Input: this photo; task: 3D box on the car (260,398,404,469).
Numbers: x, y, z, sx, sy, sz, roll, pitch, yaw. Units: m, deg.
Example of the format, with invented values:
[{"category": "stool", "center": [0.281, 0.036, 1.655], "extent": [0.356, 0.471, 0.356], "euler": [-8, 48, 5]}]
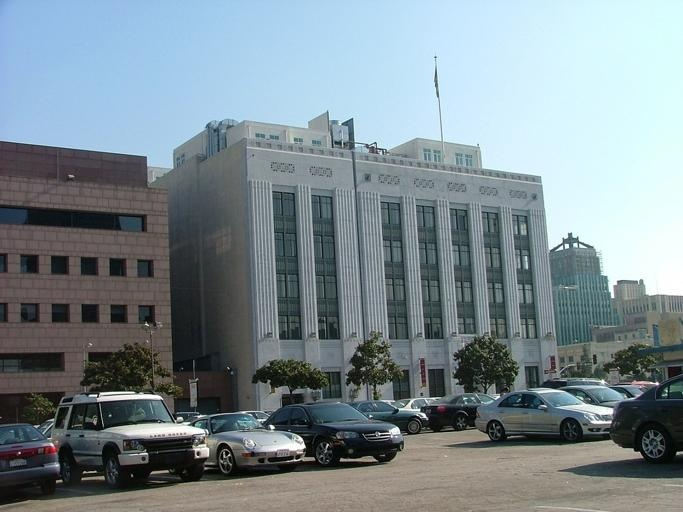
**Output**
[{"category": "car", "center": [-0.542, 5.532, 22.527], "extent": [1.922, 1.254, 3.709], "euler": [8, -17, -36]}]

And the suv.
[{"category": "suv", "center": [-5.955, 5.012, 20.146], "extent": [4.488, 2.577, 2.034], "euler": [-12, -16, 32]}]
